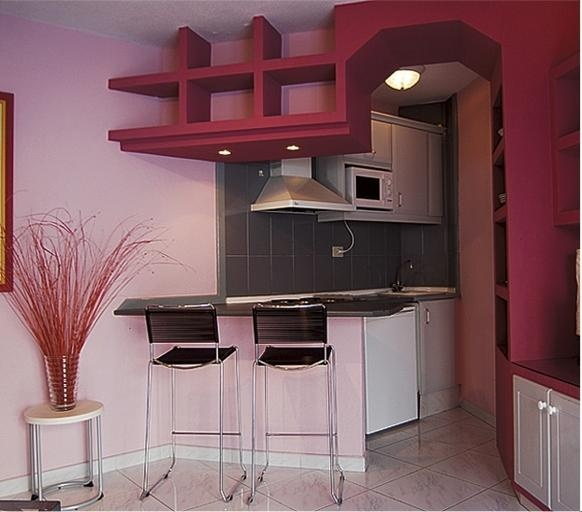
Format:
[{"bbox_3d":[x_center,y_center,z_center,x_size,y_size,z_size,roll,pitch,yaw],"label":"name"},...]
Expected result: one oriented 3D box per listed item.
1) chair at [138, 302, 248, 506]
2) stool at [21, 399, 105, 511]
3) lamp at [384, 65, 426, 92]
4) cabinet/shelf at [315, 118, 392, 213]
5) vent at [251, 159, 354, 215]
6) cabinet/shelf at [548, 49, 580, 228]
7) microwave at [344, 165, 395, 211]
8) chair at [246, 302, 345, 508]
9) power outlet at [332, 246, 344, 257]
[{"bbox_3d":[-0.647,0.917,3.480,0.849,1.126,0.768,2,-9,-27],"label":"chair"},{"bbox_3d":[-1.445,1.235,3.510,0.617,0.646,0.569,-1,2,-38],"label":"stool"},{"bbox_3d":[0.936,-1.476,4.366,0.323,0.102,0.317,-4,-6,27],"label":"lamp"},{"bbox_3d":[0.629,-0.889,5.141,0.386,0.914,0.997,13,12,29],"label":"cabinet/shelf"},{"bbox_3d":[0.074,-0.632,4.619,0.590,0.460,0.835,0,3,39],"label":"vent"},{"bbox_3d":[1.584,-0.668,2.972,0.155,0.898,0.240,-1,5,3],"label":"cabinet/shelf"},{"bbox_3d":[0.672,-0.619,4.937,0.536,0.323,0.307,-1,0,-40],"label":"microwave"},{"bbox_3d":[0.023,0.873,3.449,0.641,1.216,0.652,-1,5,3],"label":"chair"},{"bbox_3d":[0.460,-0.047,5.159,0.153,0.106,0.018,-5,6,-41],"label":"power outlet"}]
